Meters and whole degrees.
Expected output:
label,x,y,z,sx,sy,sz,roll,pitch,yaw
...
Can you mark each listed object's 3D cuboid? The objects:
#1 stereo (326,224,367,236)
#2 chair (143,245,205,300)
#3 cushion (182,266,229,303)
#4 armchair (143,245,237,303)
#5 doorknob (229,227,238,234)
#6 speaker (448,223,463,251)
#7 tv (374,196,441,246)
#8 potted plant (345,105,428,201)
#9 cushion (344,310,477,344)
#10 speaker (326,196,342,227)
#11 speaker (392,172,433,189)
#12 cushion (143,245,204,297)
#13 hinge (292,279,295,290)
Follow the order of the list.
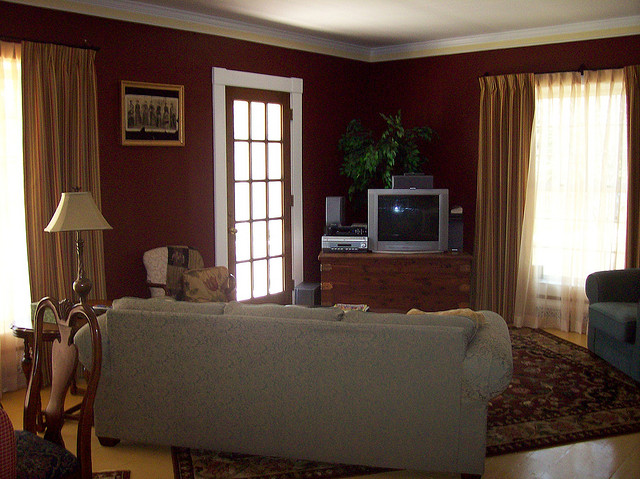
label,x,y,z,sx,sy,sz,roll,pitch,yaw
stereo,0.295,-0.100,5.892,0.438,0.094,0.104,0,15,1
chair,-1.475,0.523,5.284,0.559,0.755,0.617,5,-19,-29
cushion,-1.067,0.350,5.064,0.385,0.120,0.416,5,-31,-4
armchair,-1.219,0.322,5.167,0.611,0.854,0.696,1,-6,-42
doorknob,-0.927,-0.097,5.764,0.097,0.072,0.032,-11,18,-35
speaker,1.476,-0.029,5.853,0.135,0.293,0.096,1,14,5
tv,0.965,-0.201,5.792,0.838,0.684,0.458,1,-1,6
potted plant,0.763,-0.963,6.190,0.890,1.038,1.109,5,15,18
cushion,0.565,0.534,3.337,0.823,0.141,0.149,2,15,6
speaker,0.165,-0.257,6.122,0.231,0.240,0.436,-2,44,0
speaker,1.003,-0.639,5.835,0.431,0.148,0.108,1,14,4
cushion,-1.413,0.278,5.079,0.425,0.585,0.464,0,0,-37
hinge,-0.313,0.524,6.275,0.019,0.120,0.027,2,14,8
